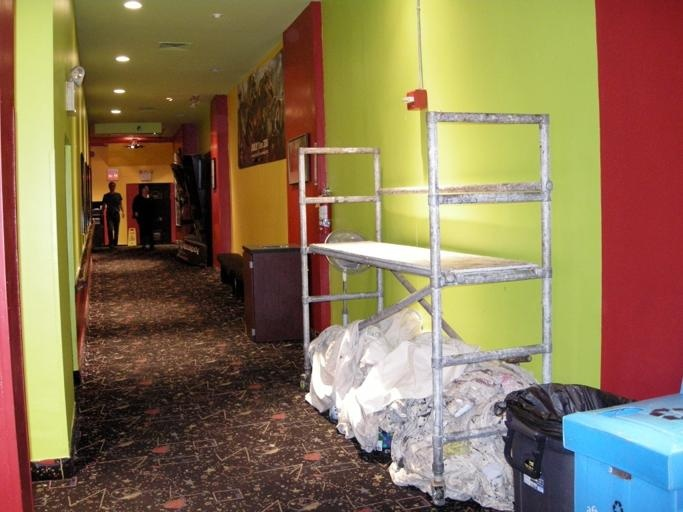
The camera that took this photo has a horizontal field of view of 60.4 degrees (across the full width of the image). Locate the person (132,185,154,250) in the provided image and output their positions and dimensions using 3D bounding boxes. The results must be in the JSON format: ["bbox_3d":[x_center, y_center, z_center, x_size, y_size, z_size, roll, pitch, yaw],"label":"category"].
[{"bbox_3d":[-5.396,-0.915,16.111,0.556,1.531,1.516,-3,7,-19],"label":"person"}]
